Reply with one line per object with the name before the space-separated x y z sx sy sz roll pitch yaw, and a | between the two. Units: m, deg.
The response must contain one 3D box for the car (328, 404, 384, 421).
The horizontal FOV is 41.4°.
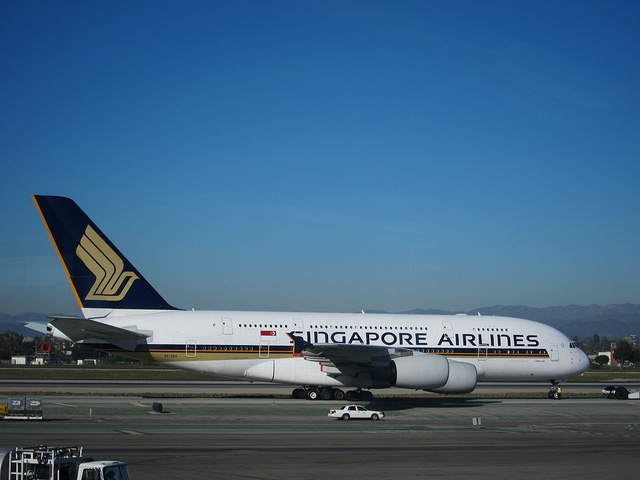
car | 1.514 7.413 36.303 2.255 0.516 0.788 -1 -4 -6
